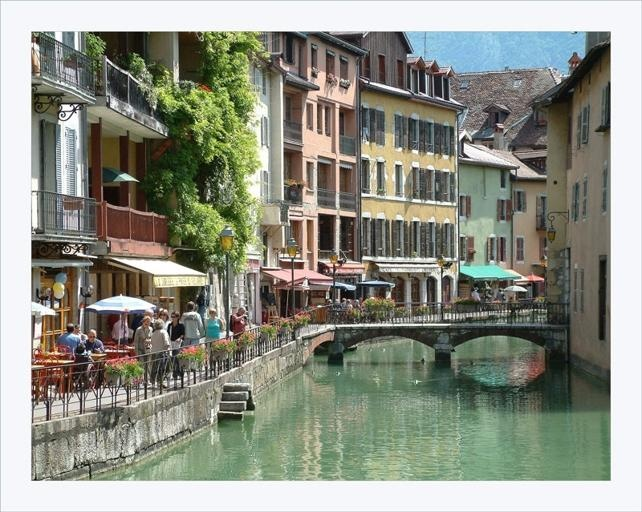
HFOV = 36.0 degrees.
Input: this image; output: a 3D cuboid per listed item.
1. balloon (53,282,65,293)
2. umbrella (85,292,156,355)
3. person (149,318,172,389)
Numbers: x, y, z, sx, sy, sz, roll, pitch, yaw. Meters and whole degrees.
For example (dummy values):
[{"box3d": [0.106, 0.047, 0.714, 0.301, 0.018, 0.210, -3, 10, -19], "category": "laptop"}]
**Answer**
[{"box3d": [-7.114, 0.853, 26.854, 0.276, 0.258, 0.218, 1, -3, -37], "category": "balloon"}, {"box3d": [-5.259, 1.965, 26.095, 1.605, 1.654, 1.754, 10, 16, 26], "category": "umbrella"}, {"box3d": [-3.863, 2.424, 23.967, 0.473, 1.718, 1.199, -1, -3, -10], "category": "person"}]
